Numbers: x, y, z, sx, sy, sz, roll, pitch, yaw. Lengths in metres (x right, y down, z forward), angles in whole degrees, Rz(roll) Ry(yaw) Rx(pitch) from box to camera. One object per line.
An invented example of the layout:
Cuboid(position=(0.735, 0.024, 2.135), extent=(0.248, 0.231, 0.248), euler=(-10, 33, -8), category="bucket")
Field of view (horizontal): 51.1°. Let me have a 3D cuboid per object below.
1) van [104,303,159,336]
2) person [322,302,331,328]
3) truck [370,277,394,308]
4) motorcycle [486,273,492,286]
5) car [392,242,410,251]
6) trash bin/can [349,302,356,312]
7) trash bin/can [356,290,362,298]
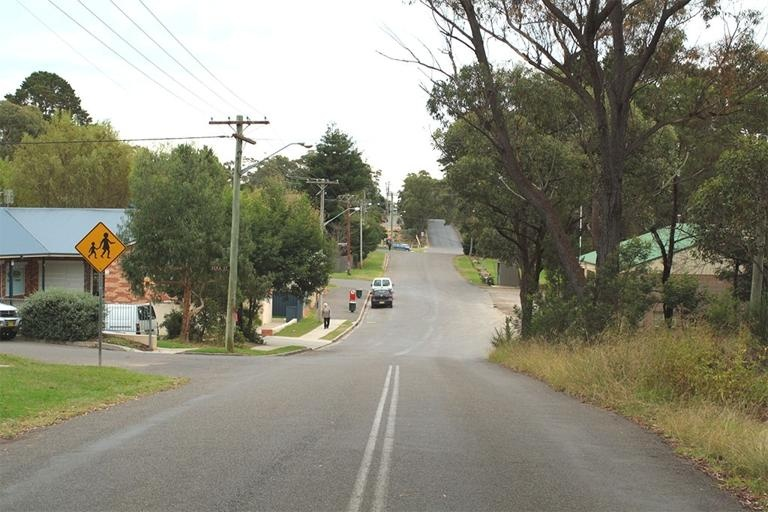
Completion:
Cuboid(position=(-13.428, 3.336, 42.066), extent=(2.574, 1.713, 5.156), euler=(3, -8, -20), category="van")
Cuboid(position=(-4.330, 4.482, 58.305), extent=(0.398, 1.795, 1.484), euler=(1, -6, -7), category="person")
Cuboid(position=(-0.302, 3.434, 72.579), extent=(1.860, 2.865, 3.906), euler=(1, -7, 0), category="truck")
Cuboid(position=(11.513, 2.785, 88.265), extent=(0.716, 0.893, 1.138), euler=(0, 4, 3), category="motorcycle")
Cuboid(position=(2.626, -1.265, 131.493), extent=(2.209, 1.317, 1.407), euler=(-6, 5, 3), category="car")
Cuboid(position=(-2.808, 4.539, 68.349), extent=(0.549, 0.744, 0.606), euler=(1, -4, 0), category="trash bin/can")
Cuboid(position=(-2.511, 3.699, 75.944), extent=(0.703, 0.813, 0.554), euler=(0, -6, -1), category="trash bin/can")
